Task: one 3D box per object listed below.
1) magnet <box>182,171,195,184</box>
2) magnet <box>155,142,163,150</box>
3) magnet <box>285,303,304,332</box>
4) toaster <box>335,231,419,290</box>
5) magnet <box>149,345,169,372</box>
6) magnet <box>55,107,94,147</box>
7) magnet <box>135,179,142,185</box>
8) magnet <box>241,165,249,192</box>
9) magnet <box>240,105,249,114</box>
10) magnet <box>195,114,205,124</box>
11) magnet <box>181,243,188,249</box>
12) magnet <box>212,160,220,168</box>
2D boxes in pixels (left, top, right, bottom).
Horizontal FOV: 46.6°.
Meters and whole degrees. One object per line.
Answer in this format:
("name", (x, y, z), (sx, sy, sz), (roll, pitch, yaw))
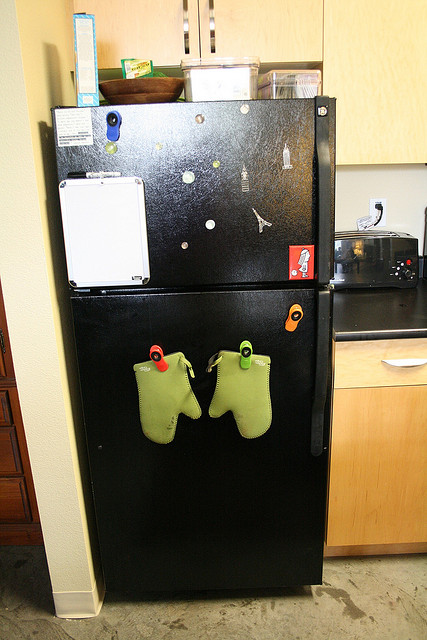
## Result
("magnet", (-0.063, -0.352, 1.228), (0.029, 0.030, 0.007), (-6, 20, -16))
("magnet", (-0.135, -0.425, 1.214), (0.014, 0.014, 0.003), (7, 8, 11))
("magnet", (0.206, -0.007, 1.298), (0.036, 0.066, 0.016), (14, 24, 11))
("toaster", (0.616, -0.217, 1.894), (0.339, 0.218, 0.200), (0, 10, 2))
("magnet", (-0.141, 0.101, 1.275), (0.018, 0.062, 0.042), (-24, 24, 31))
("magnet", (-0.340, -0.471, 1.214), (0.085, 0.087, 0.015), (-1, 19, -2))
("magnet", (-0.187, -0.340, 1.226), (0.015, 0.012, 0.002), (1, 19, 2))
("magnet", (0.077, -0.350, 1.232), (0.019, 0.062, 0.008), (1, 19, 4))
("magnet", (0.073, -0.510, 1.198), (0.018, 0.018, 0.004), (2, 5, -3))
("magnet", (-0.034, -0.488, 1.205), (0.018, 0.019, 0.004), (-2, 9, 1))
("magnet", (-0.075, -0.189, 1.266), (0.011, 0.012, 0.003), (8, 15, 1))
("magnet", (0.004, -0.386, 1.223), (0.015, 0.016, 0.005), (-5, 6, 0))
